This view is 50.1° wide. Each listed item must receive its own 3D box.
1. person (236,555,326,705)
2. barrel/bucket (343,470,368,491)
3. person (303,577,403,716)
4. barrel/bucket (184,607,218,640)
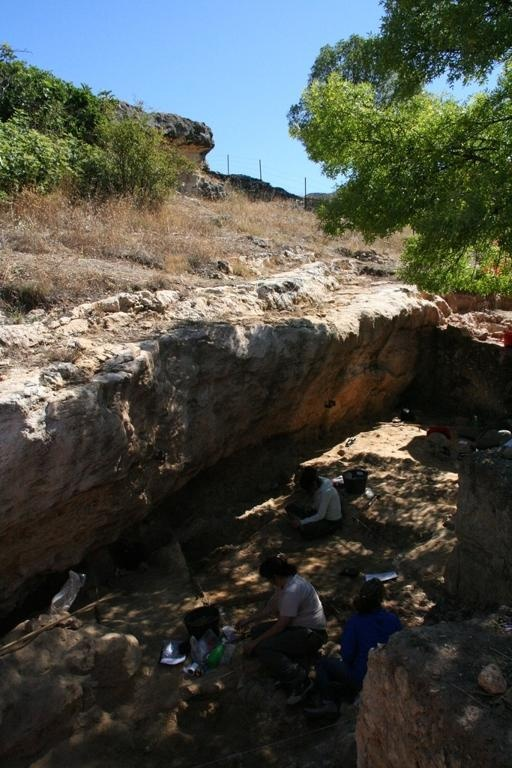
[{"bbox_3d":[0.216,1.576,3.798,0.710,1.120,0.685,3,-7,2],"label":"person"},{"bbox_3d":[1.130,1.101,6.164,0.280,0.220,0.239,-5,11,-10],"label":"barrel/bucket"},{"bbox_3d":[0.562,1.537,3.155,0.445,0.810,0.340,3,-9,43],"label":"person"},{"bbox_3d":[-0.379,1.654,3.807,0.210,0.150,0.163,-1,1,-20],"label":"barrel/bucket"}]
